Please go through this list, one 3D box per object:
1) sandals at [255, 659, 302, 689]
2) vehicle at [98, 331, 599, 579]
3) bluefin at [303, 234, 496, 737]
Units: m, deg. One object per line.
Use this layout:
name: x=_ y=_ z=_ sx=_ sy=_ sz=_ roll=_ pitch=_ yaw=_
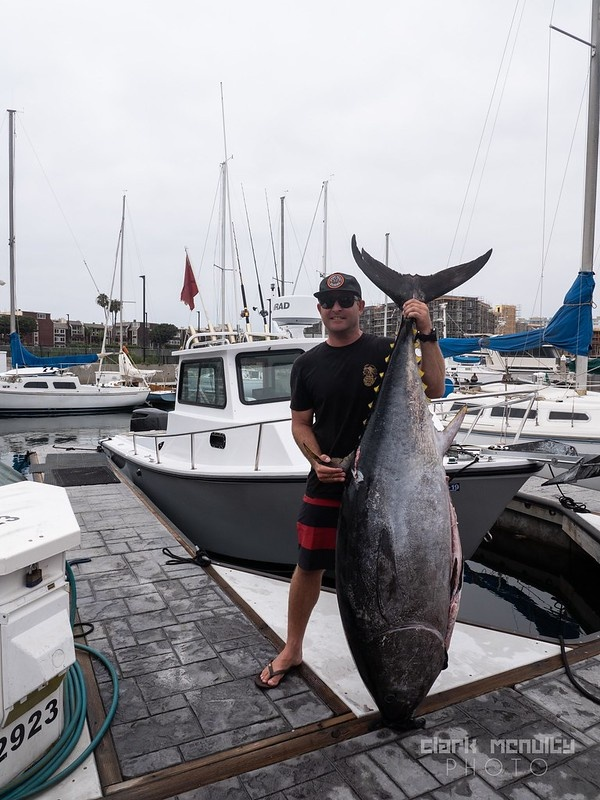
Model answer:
sandals: x=-0.089 y=1.045 z=2.303 sx=0.061 sy=0.042 sz=0.163 roll=-8 pitch=-18 yaw=38
vehicle: x=-0.184 y=0.293 z=5.362 sx=1.638 sy=1.927 sz=4.424 roll=-3 pitch=7 yaw=-42
bluefin: x=0.293 y=0.380 z=1.965 sx=0.445 sy=1.783 sz=0.455 roll=2 pitch=-12 yaw=34
